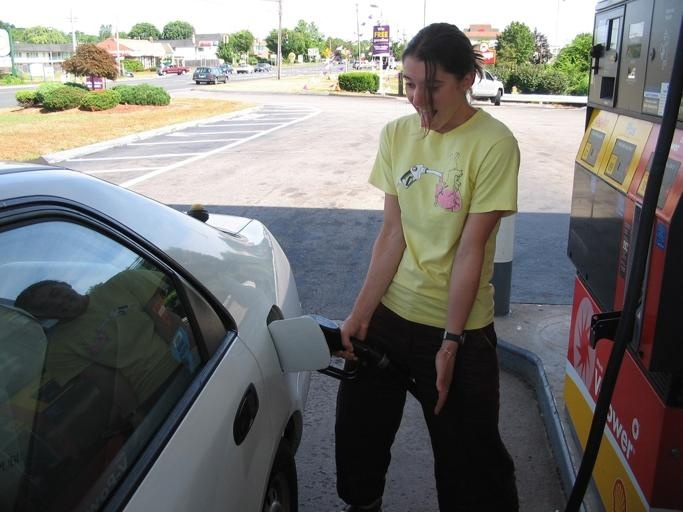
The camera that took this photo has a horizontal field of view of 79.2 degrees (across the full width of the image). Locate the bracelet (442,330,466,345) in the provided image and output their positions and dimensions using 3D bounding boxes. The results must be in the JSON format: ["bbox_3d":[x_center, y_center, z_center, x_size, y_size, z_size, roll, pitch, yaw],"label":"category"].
[{"bbox_3d":[0.454,0.326,1.662,0.069,0.051,0.080,10,4,-6],"label":"bracelet"}]

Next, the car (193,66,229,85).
[{"bbox_3d":[-15.200,-20.958,47.722,3.001,1.844,4.752,-1,24,-6],"label":"car"}]
